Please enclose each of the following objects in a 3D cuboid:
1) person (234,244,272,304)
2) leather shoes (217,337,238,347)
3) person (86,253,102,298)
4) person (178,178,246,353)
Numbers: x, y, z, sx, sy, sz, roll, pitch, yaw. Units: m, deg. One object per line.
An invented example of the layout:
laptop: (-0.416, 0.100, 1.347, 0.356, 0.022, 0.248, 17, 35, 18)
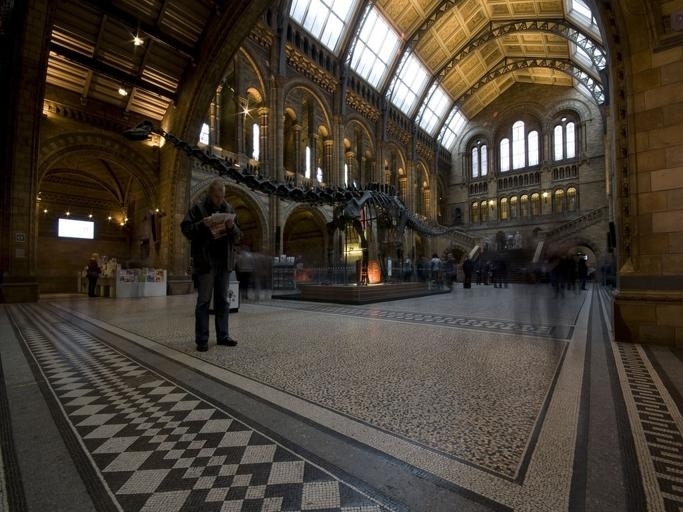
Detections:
person: (-2.475, 0.569, 12.372, 0.810, 0.854, 1.566, 2, 2, -6)
leather shoes: (-1.415, 1.072, 5.479, 0.262, 0.118, 0.102, -3, -4, 7)
person: (-7.542, 0.653, 13.382, 0.416, 1.385, 1.768, -5, 10, -30)
person: (-1.577, 0.114, 5.387, 0.676, 2.070, 0.677, -4, 9, -21)
